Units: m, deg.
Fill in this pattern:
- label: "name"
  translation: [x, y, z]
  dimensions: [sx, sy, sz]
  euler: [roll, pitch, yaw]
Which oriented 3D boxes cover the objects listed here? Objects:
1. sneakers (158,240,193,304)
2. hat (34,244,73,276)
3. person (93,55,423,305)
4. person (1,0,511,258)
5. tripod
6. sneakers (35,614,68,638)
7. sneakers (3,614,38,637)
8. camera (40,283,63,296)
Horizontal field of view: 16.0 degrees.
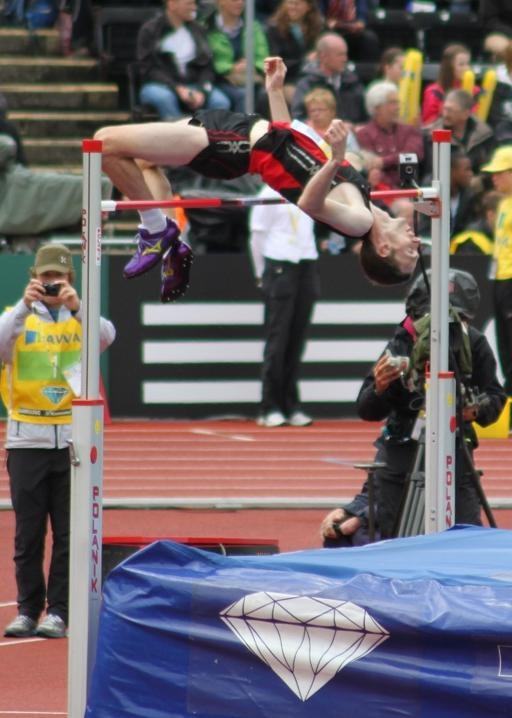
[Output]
- label: "sneakers"
  translation: [-0.337, -0.353, 7.428]
  dimensions: [0.144, 0.287, 0.097]
  euler: [18, 45, 9]
- label: "hat"
  translation: [-0.869, -0.400, 7.743]
  dimensions: [0.174, 0.152, 0.196]
  euler: [-1, 15, -6]
- label: "person"
  translation: [-0.004, -0.672, 7.025]
  dimensions: [1.219, 0.936, 0.760]
  euler: [2, 17, -2]
- label: "person"
  translation: [-0.028, -1.338, 10.834]
  dimensions: [2.286, 1.478, 0.783]
  euler: [0, -3, -2]
- label: "tripod"
  translation: [0.746, 0.500, 7.171]
  dimensions: [0.353, 0.480, 0.333]
  euler: [0, 14, -5]
- label: "sneakers"
  translation: [-0.863, 1.126, 7.631]
  dimensions: [0.113, 0.083, 0.086]
  euler: [-1, 14, -6]
- label: "sneakers"
  translation: [-0.993, 1.131, 7.662]
  dimensions: [0.139, 0.084, 0.104]
  euler: [-1, 15, -9]
- label: "camera"
  translation: [-0.858, -0.278, 7.611]
  dimensions: [0.075, 0.055, 0.048]
  euler: [0, -1, -9]
